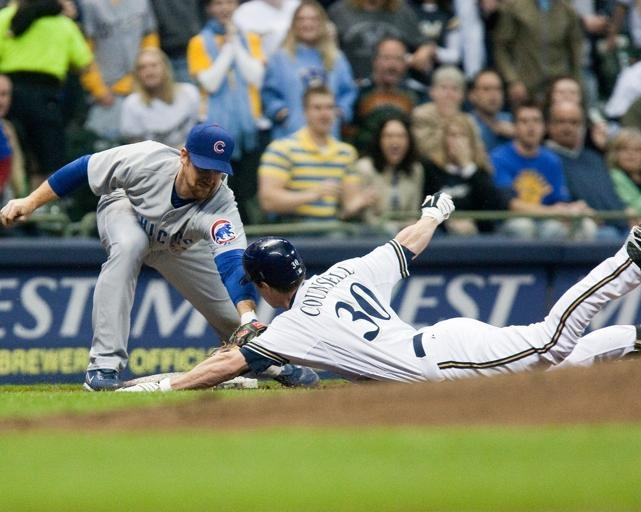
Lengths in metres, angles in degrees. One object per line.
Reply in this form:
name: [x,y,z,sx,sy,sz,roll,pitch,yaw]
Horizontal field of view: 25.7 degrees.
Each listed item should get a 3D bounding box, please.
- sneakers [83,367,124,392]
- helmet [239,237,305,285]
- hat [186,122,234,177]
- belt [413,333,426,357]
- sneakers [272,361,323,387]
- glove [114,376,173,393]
sneakers: [-1.425,0.816,9.133,0.281,0.127,0.112,-1,-14,18]
helmet: [-0.270,0.035,8.336,0.326,0.209,0.246,-3,24,37]
hat: [-0.669,-0.687,8.698,0.235,0.190,0.331,8,31,-40]
belt: [0.566,0.525,8.212,0.042,0.114,0.085,-8,0,0]
sneakers: [-0.160,0.788,9.261,0.360,0.152,0.129,14,-12,4]
glove: [-1.054,0.808,8.635,0.376,0.158,0.136,-2,-10,20]
